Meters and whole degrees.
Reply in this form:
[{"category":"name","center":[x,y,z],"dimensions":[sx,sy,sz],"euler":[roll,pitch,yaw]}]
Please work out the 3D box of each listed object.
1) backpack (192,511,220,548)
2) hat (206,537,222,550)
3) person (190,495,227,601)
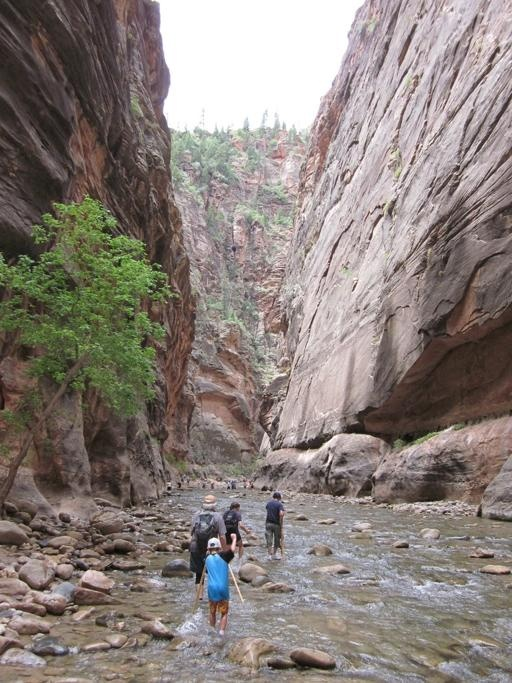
[{"category":"backpack","center":[-0.625,2.344,6.151],"dimensions":[0.343,0.389,0.388],"euler":[0,-66,5]},{"category":"hat","center":[-0.457,2.199,5.312],"dimensions":[0.171,0.118,0.268],"euler":[3,-10,1]},{"category":"person","center":[-0.606,2.640,6.202],"dimensions":[0.517,1.157,0.538],"euler":[-8,-21,21]}]
